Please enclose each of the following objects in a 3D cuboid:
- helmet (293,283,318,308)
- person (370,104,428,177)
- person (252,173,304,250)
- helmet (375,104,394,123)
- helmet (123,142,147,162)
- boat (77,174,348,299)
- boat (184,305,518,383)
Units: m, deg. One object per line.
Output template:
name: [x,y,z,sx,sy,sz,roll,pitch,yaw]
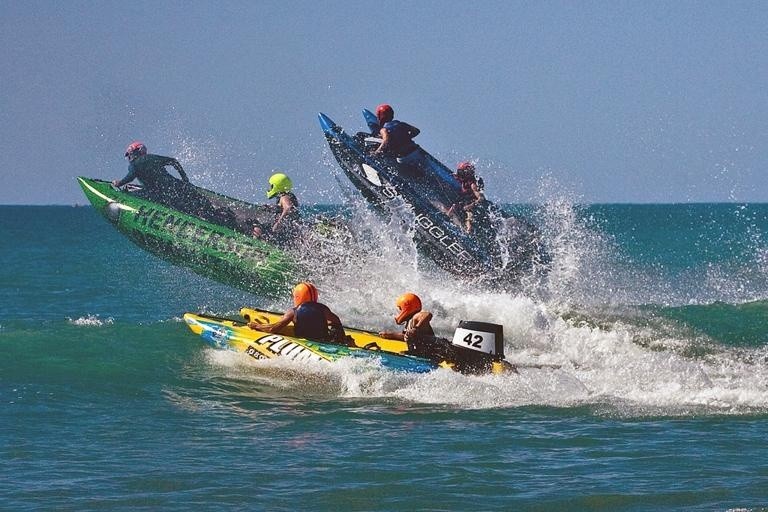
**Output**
helmet: [-1.683,0.785,24.193,0.570,0.495,0.458,-7,-4,42]
person: [0.398,-2.940,29.853,1.585,1.712,0.741,16,4,-12]
person: [-2.619,-1.183,29.697,0.902,1.744,1.306,15,3,-41]
helmet: [0.010,-3.594,29.622,0.432,0.468,0.330,17,3,15]
helmet: [-6.357,-2.661,29.978,0.428,0.427,0.453,16,3,-9]
boat: [-4.369,-0.323,30.349,5.679,1.297,1.744,15,24,6]
boat: [-1.062,1.904,24.286,6.501,1.094,2.146,7,5,8]
